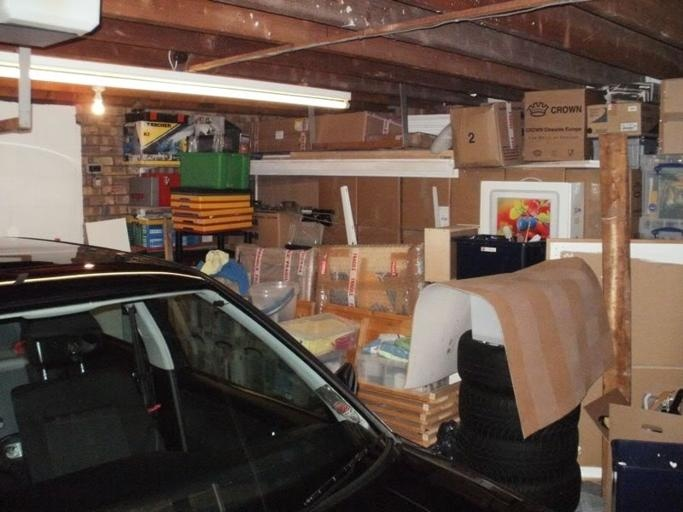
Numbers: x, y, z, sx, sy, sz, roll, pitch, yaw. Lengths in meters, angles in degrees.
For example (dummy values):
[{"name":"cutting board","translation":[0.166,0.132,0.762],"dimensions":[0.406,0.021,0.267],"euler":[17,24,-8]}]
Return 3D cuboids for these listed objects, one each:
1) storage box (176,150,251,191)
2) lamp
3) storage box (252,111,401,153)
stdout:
[{"name":"storage box","translation":[-1.620,-1.088,6.890],"dimensions":[0.650,0.378,0.646],"euler":[6,9,37]},{"name":"lamp","translation":[-1.160,-1.491,4.573],"dimensions":[2.561,0.343,0.483],"euler":[-10,15,-32]},{"name":"storage box","translation":[-0.150,-1.678,7.241],"dimensions":[1.034,0.232,0.940],"euler":[5,7,40]}]
